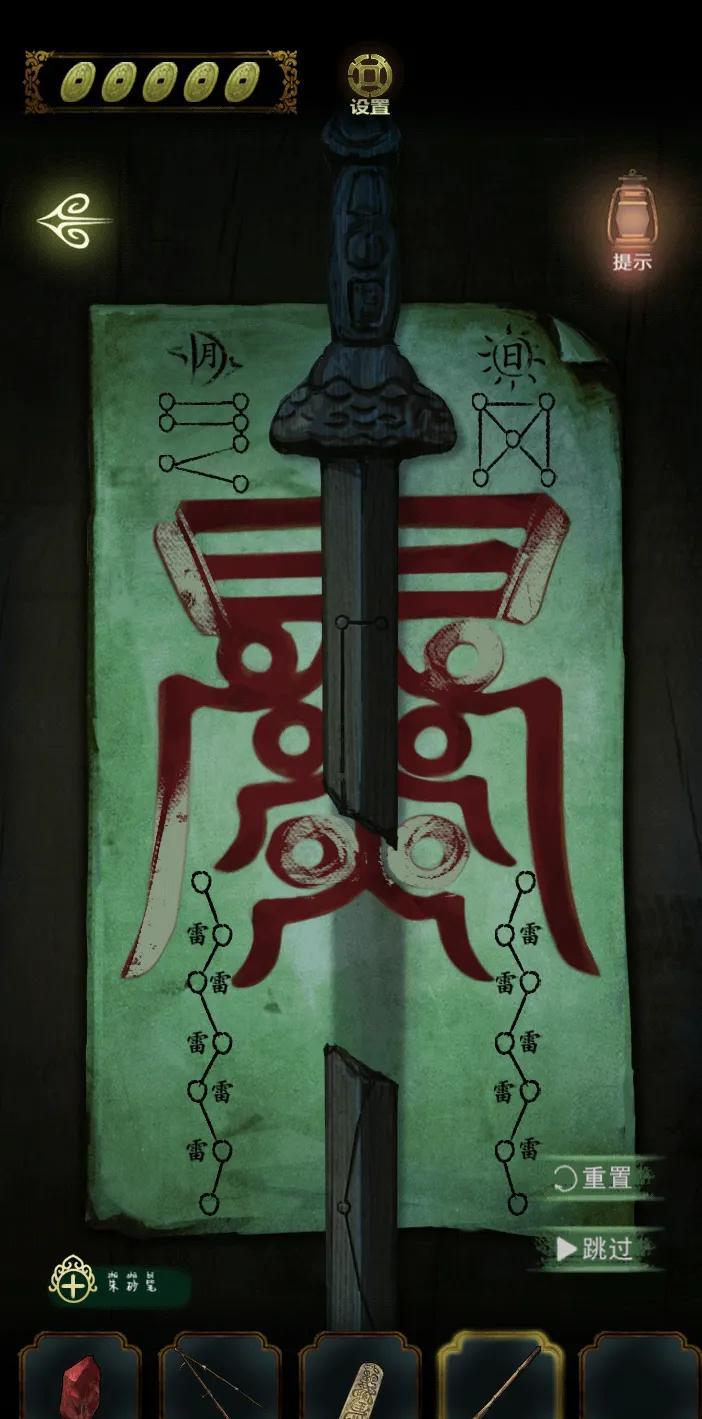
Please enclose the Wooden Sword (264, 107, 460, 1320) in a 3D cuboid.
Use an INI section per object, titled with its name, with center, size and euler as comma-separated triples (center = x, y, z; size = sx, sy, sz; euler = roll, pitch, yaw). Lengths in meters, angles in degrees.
[Wooden Sword]
center = -0.013, 0.017, 4.500
size = 0.463, 3.645, 0.437
euler = 3, 7, 29
